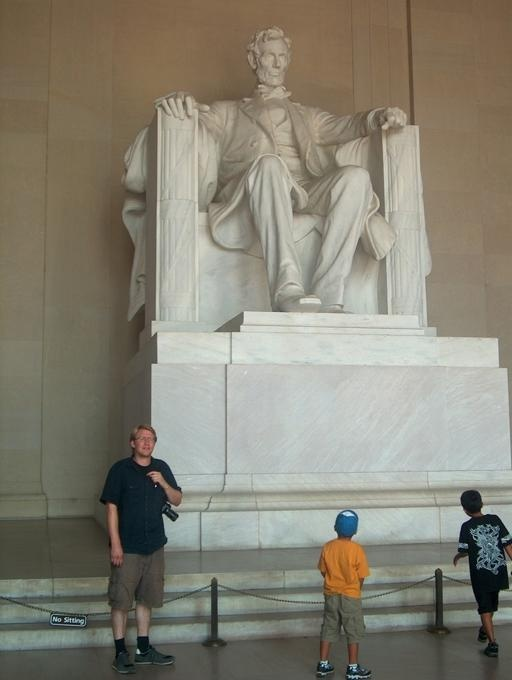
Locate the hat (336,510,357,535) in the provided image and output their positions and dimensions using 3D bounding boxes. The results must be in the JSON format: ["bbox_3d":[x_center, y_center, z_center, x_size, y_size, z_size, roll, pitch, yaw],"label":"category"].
[{"bbox_3d":[0.478,0.941,5.709,0.098,0.082,0.139,0,16,10],"label":"hat"}]

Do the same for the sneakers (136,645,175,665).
[{"bbox_3d":[-0.550,1.688,5.866,0.238,0.102,0.080,0,-11,-3],"label":"sneakers"}]

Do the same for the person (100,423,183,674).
[{"bbox_3d":[-0.600,1.164,5.849,0.435,1.106,0.378,-1,2,-13],"label":"person"}]

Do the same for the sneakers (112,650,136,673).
[{"bbox_3d":[-0.692,1.677,5.702,0.102,0.089,0.116,-1,2,-17],"label":"sneakers"}]
